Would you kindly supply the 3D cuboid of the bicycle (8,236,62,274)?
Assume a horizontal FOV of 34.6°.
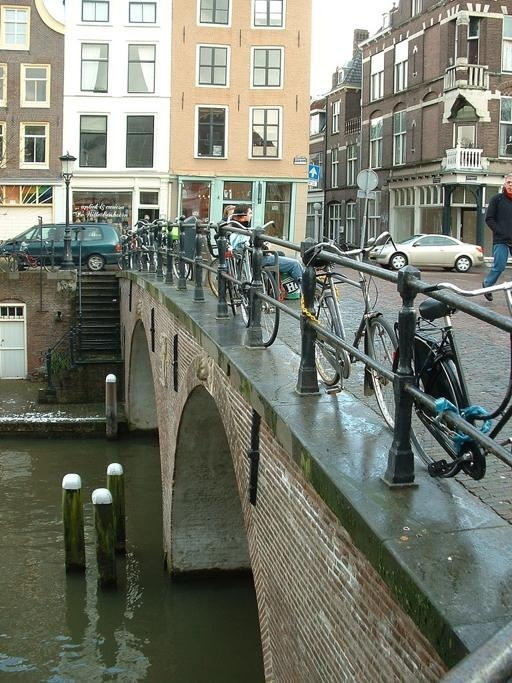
[{"bbox_3d":[-6.712,-2.590,24.884,1.892,1.016,0.761,2,-4,-4],"label":"bicycle"}]
